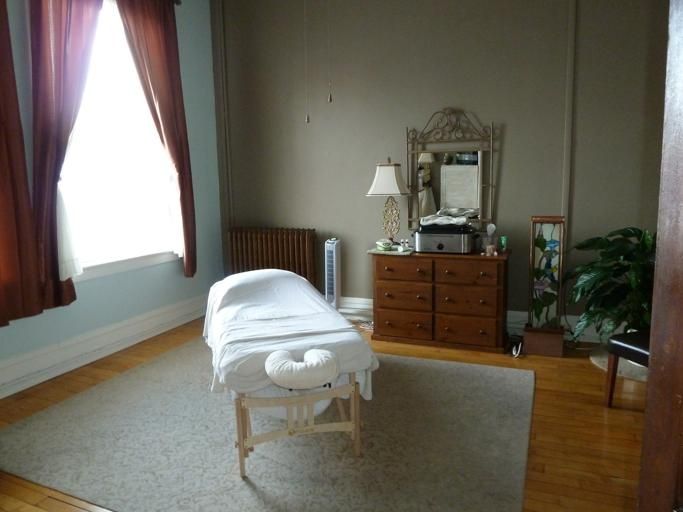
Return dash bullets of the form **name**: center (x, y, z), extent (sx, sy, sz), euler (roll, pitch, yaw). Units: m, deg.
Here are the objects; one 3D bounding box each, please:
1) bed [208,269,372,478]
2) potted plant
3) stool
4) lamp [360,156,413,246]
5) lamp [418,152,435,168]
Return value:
- **bed**: center (-0.459, 0.679, 3.841), extent (0.994, 0.815, 1.941), euler (-4, 12, -14)
- **potted plant**: center (2.073, 0.307, 4.095), extent (0.589, 1.029, 0.942), euler (4, 11, 29)
- **stool**: center (1.902, 0.768, 3.520), extent (0.231, 0.521, 0.395), euler (4, 11, 27)
- **lamp**: center (0.446, -0.508, 4.938), extent (0.373, 0.804, 0.575), euler (0, 10, 4)
- **lamp**: center (0.791, -0.874, 4.933), extent (0.136, 0.155, 0.123), euler (2, 1, 26)
